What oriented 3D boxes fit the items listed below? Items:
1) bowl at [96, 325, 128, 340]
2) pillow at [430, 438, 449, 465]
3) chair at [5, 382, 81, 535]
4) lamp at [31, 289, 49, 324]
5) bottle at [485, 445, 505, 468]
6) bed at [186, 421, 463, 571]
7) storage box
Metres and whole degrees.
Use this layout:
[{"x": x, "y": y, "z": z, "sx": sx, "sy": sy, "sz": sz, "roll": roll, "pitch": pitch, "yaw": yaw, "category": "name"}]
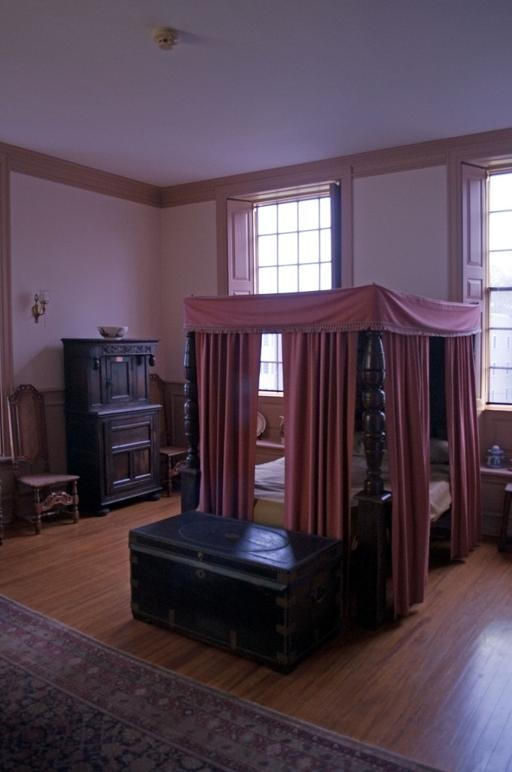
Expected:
[{"x": -1.446, "y": -0.538, "z": 5.944, "sx": 0.179, "sy": 0.088, "sz": 0.195, "roll": -1, "pitch": -1, "yaw": 0, "category": "bowl"}, {"x": 1.413, "y": 0.511, "z": 4.639, "sx": 0.153, "sy": 0.169, "sz": 0.044, "roll": -9, "pitch": -28, "yaw": 32, "category": "pillow"}, {"x": -1.938, "y": 0.619, "z": 5.439, "sx": 0.593, "sy": 1.268, "sz": 0.656, "roll": -2, "pitch": 3, "yaw": -39, "category": "chair"}, {"x": -2.031, "y": -0.739, "z": 5.588, "sx": 0.149, "sy": 0.299, "sz": 0.221, "roll": -1, "pitch": 3, "yaw": -21, "category": "lamp"}, {"x": 2.052, "y": 0.621, "z": 5.207, "sx": 0.152, "sy": 0.189, "sz": 0.158, "roll": 0, "pitch": -4, "yaw": 43, "category": "bottle"}, {"x": 0.110, "y": 1.035, "z": 4.857, "sx": 2.167, "sy": 0.491, "sz": 2.210, "roll": -13, "pitch": -27, "yaw": 23, "category": "bed"}, {"x": 0.013, "y": 0.852, "z": 3.168, "sx": 0.886, "sy": 0.501, "sz": 0.572, "roll": 2, "pitch": 0, "yaw": 37, "category": "storage box"}]
